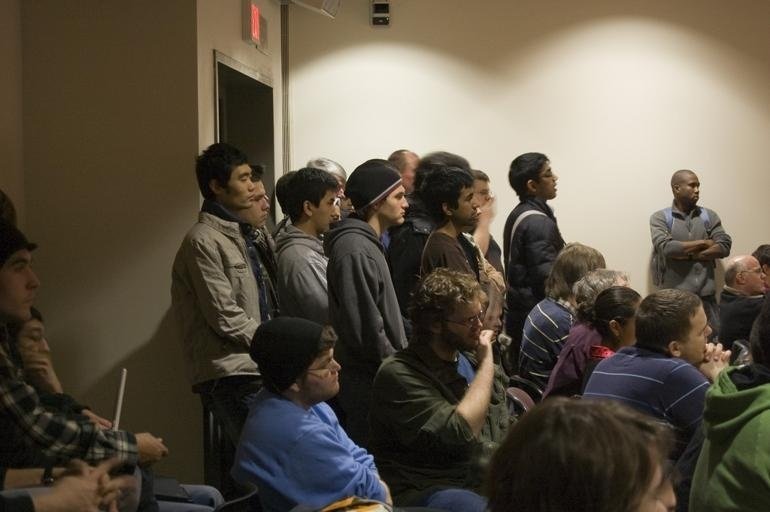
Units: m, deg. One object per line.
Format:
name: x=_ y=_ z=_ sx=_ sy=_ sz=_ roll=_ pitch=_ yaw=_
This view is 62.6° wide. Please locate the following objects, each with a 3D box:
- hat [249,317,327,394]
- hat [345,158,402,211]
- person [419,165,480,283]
hat: x=-0.392 y=0.402 z=2.685 sx=0.360 sy=0.314 sz=0.283 roll=3 pitch=15 yaw=0
hat: x=-0.052 y=-0.416 z=3.929 sx=0.372 sy=0.347 sz=0.303 roll=-12 pitch=-10 yaw=-11
person: x=0.429 y=-0.194 z=4.018 sx=0.344 sy=0.770 sz=0.745 roll=1 pitch=11 yaw=19
